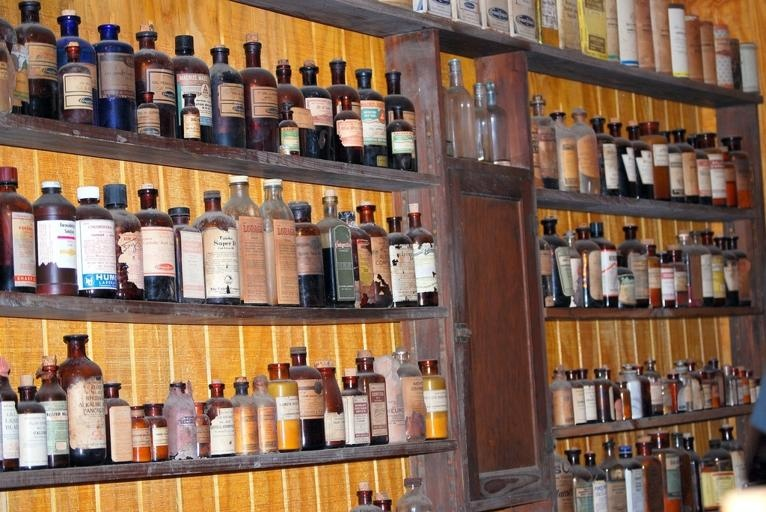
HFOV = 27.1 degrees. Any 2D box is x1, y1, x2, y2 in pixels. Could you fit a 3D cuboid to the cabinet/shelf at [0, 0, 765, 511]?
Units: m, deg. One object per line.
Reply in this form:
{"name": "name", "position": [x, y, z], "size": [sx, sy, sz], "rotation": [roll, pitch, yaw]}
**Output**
{"name": "cabinet/shelf", "position": [0.185, -0.069, 5.727], "size": [3.379, 1.990, 0.848], "rotation": [1, -7, -44]}
